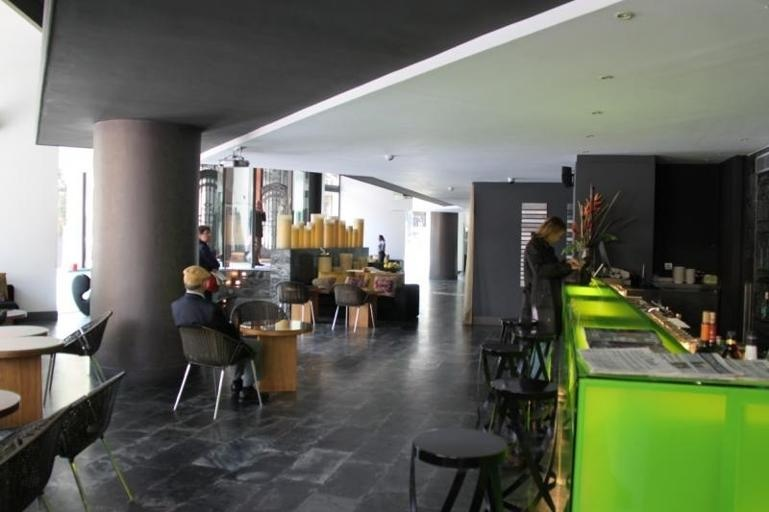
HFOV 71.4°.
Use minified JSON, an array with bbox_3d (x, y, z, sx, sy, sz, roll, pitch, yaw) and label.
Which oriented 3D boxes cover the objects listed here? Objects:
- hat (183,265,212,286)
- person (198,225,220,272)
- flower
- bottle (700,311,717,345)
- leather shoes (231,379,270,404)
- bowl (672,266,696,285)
[{"bbox_3d":[-1.991,0.255,5.746,0.236,0.103,0.270,23,42,18],"label":"hat"},{"bbox_3d":[-3.346,-0.135,10.197,0.314,0.870,0.797,-1,4,-21],"label":"person"},{"bbox_3d":[3.207,-0.547,8.129,0.775,1.044,1.378,3,5,39],"label":"flower"},{"bbox_3d":[2.464,0.541,4.054,0.094,0.221,0.205,2,4,30],"label":"bottle"},{"bbox_3d":[-1.569,1.558,6.088,0.531,0.218,0.170,1,3,6],"label":"leather shoes"},{"bbox_3d":[4.433,0.297,7.831,0.403,0.284,0.215,5,-8,-33],"label":"bowl"}]
